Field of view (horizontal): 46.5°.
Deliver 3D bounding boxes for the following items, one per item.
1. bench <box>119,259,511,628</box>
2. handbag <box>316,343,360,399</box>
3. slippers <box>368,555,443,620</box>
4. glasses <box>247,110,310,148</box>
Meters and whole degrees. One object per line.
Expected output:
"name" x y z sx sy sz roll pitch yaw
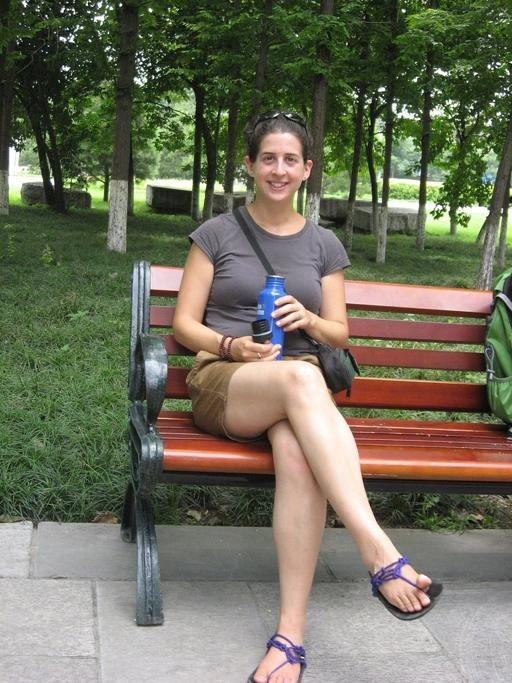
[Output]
"bench" 0.211 0.370 2.103 1.307 0.683 0.520 0 25 -19
"handbag" 0.282 0.060 2.094 0.109 0.176 0.187 -12 15 23
"slippers" 0.344 0.593 1.480 0.099 0.066 0.239 -38 18 -8
"glasses" 0.086 -0.804 2.236 0.128 0.119 0.036 -1 18 -7
